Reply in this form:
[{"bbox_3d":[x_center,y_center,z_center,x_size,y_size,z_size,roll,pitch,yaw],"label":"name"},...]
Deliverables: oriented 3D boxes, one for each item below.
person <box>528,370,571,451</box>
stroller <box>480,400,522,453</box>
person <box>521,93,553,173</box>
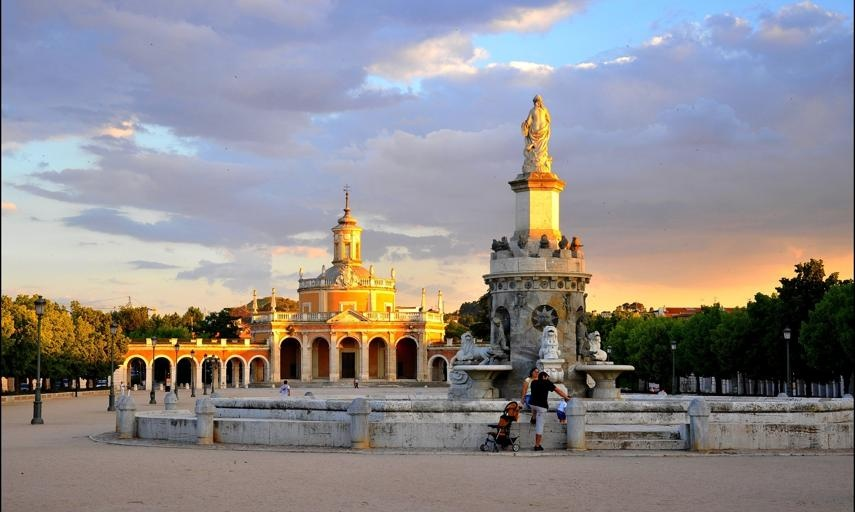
[{"bbox_3d":[4.050,5.325,43.119,1.110,2.662,0.877,0,-12,4],"label":"person"},{"bbox_3d":[2.508,5.889,43.121,1.257,1.719,0.925,-1,-12,9],"label":"stroller"},{"bbox_3d":[4.336,-4.855,50.030,1.029,3.275,0.943,0,-12,4],"label":"person"}]
